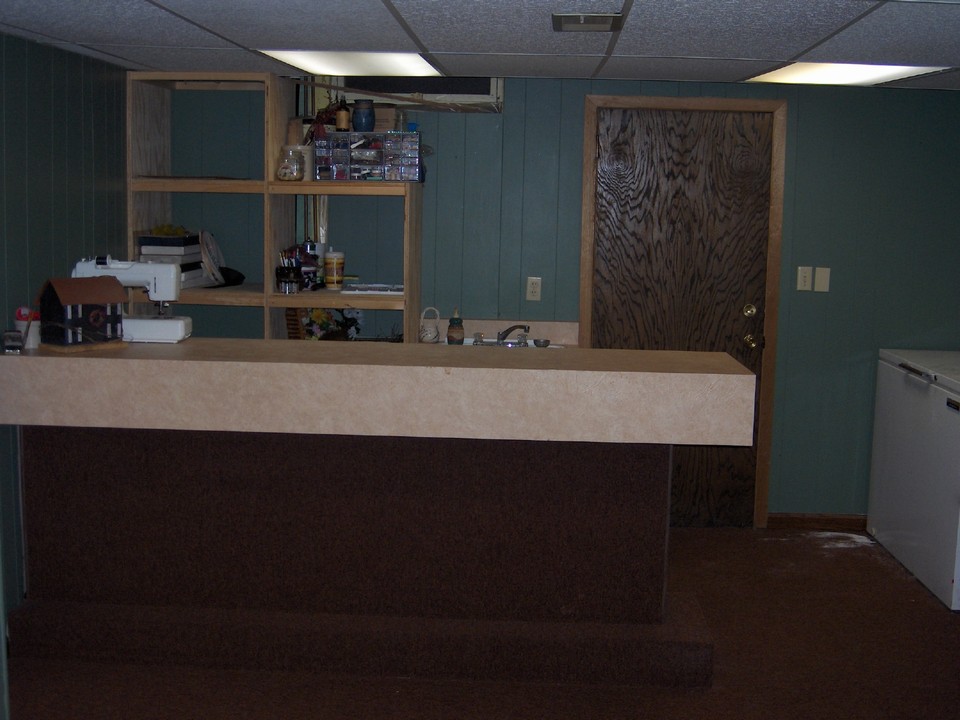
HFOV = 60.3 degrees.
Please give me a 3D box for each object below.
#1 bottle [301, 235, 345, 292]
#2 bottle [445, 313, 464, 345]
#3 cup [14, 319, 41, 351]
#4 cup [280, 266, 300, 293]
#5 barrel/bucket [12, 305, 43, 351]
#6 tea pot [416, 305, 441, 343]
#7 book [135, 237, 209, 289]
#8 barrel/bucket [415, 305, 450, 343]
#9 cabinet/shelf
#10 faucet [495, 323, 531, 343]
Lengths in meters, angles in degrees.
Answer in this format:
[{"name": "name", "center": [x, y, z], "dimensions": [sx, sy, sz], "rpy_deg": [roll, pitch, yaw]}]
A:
[{"name": "bottle", "center": [-0.990, -0.555, 4.856], "dimensions": [0.387, 0.371, 0.212], "rpy_deg": [-1, 13, -8]}, {"name": "bottle", "center": [-0.148, -0.176, 4.920], "dimensions": [0.151, 0.218, 0.141], "rpy_deg": [1, 0, 0]}, {"name": "cup", "center": [-1.598, -0.089, 2.924], "dimensions": [0.099, 0.103, 0.099], "rpy_deg": [1, 5, 0]}, {"name": "cup", "center": [-1.051, -0.436, 4.513], "dimensions": [0.103, 0.130, 0.044], "rpy_deg": [2, 4, 2]}, {"name": "barrel/bucket", "center": [-1.598, -0.107, 2.911], "dimensions": [0.078, 0.145, 0.084], "rpy_deg": [1, 8, 0]}, {"name": "tea pot", "center": [-0.304, -0.198, 4.957], "dimensions": [0.141, 0.220, 0.225], "rpy_deg": [0, 0, 0]}, {"name": "book", "center": [-1.726, -0.551, 4.650], "dimensions": [0.176, 0.293, 0.366], "rpy_deg": [7, 11, 38]}, {"name": "barrel/bucket", "center": [-0.285, -0.216, 5.046], "dimensions": [0.156, 0.243, 0.248], "rpy_deg": [0, 1, 7]}, {"name": "cabinet/shelf", "center": [-1.210, -0.945, 4.695], "dimensions": [1.614, 1.748, 0.514], "rpy_deg": [-1, 3, -3]}, {"name": "faucet", "center": [0.208, -0.149, 5.074], "dimensions": [0.209, 0.113, 0.367], "rpy_deg": [1, 9, 3]}]
